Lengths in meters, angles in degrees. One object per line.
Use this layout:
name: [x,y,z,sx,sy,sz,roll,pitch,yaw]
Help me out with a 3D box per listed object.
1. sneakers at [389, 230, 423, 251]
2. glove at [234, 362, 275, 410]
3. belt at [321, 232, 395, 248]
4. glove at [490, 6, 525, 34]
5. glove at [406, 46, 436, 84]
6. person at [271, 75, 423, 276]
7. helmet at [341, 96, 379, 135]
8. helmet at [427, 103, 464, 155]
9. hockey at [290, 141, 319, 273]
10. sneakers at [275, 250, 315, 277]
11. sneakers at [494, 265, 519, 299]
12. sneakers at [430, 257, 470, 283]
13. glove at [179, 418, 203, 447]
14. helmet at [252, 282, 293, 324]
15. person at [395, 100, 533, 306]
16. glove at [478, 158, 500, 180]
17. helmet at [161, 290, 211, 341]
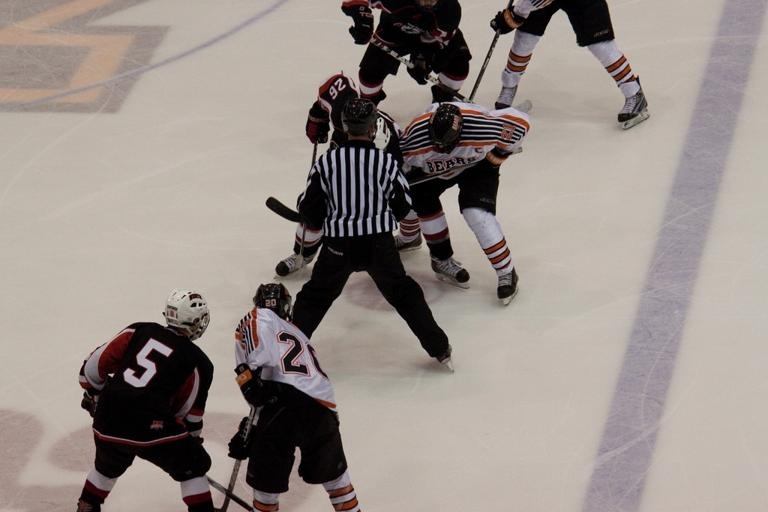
sneakers: [0.159,-0.099,5.971,0.237,0.095,0.081,-12,58,23]
glove: [-0.697,0.675,4.581,0.171,0.231,0.105,-40,23,-8]
belt: [-0.154,-0.079,5.052,0.410,0.113,0.071,-5,32,5]
glove: [0.896,-1.716,6.352,0.232,0.106,0.166,-35,40,17]
glove: [0.270,-1.399,6.346,0.173,0.217,0.071,-11,16,-22]
person: [-0.269,-0.460,5.613,0.935,1.287,0.628,-1,30,-11]
helmet: [-0.126,-0.791,4.947,0.189,0.201,0.215,3,33,3]
helmet: [0.361,-0.773,5.200,0.186,0.266,0.103,8,10,18]
hockey: [-0.468,-0.209,5.527,0.135,1.082,0.134,-2,32,-19]
sneakers: [-0.534,0.039,5.786,0.354,0.112,0.144,-20,-3,-16]
sneakers: [0.806,0.166,5.645,0.087,0.124,0.253,-14,25,31]
sneakers: [0.442,0.103,5.753,0.315,0.133,0.120,22,70,36]
glove: [-1.039,0.964,4.746,0.078,0.143,0.117,-8,21,41]
helmet: [-0.617,0.258,4.777,0.179,0.204,0.214,2,2,-7]
person: [0.442,-0.411,5.558,0.924,1.334,0.808,4,41,19]
glove: [0.660,-0.552,5.496,0.063,0.112,0.076,18,77,28]
helmet: [-1.075,0.298,4.853,0.233,0.264,0.284,19,20,21]
